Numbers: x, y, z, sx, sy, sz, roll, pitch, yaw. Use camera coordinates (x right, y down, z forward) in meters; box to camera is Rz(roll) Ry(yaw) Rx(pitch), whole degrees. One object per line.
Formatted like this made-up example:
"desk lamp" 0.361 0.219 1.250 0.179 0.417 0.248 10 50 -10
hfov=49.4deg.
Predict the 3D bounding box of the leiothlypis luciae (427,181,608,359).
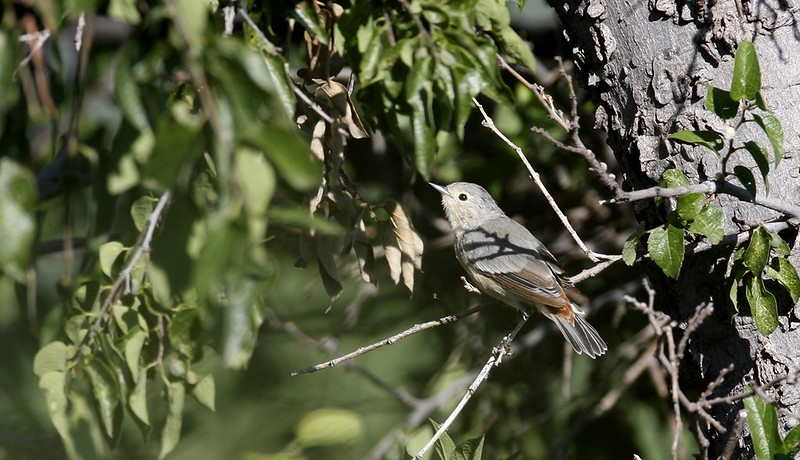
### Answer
"leiothlypis luciae" 1.005 0.290 7.175 0.504 0.809 1.408 -36 63 -30
